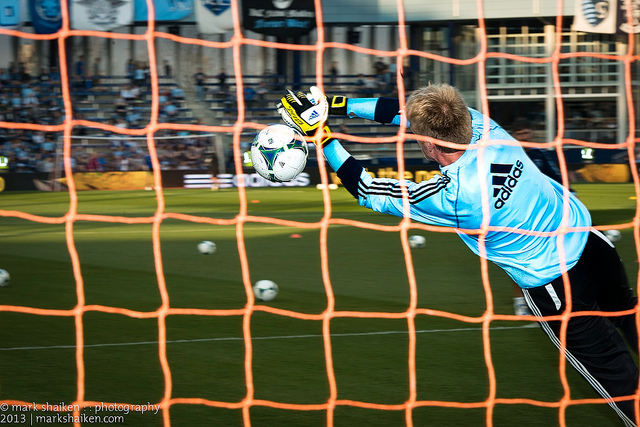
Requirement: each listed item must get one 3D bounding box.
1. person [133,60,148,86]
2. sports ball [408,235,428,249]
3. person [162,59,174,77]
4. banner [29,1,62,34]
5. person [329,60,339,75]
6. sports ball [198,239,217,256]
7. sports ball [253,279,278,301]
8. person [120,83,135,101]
[{"bbox_3d":[-5.505,-4.227,25.930,0.373,0.651,0.743,0,9,-9],"label":"person"},{"bbox_3d":[1.435,0.403,12.689,0.244,0.131,0.297,3,14,14],"label":"sports ball"},{"bbox_3d":[-4.787,-4.594,26.754,0.315,0.541,0.705,-1,9,-11],"label":"person"},{"bbox_3d":[-8.037,-5.781,25.073,0.958,0.886,0.717,1,10,-1],"label":"banner"},{"bbox_3d":[0.452,-4.784,27.884,0.310,0.453,0.725,1,8,0],"label":"person"},{"bbox_3d":[-1.641,0.480,12.386,0.272,0.166,0.286,1,8,0],"label":"sports ball"},{"bbox_3d":[-0.613,0.890,9.990,0.316,0.157,0.251,4,5,0],"label":"sports ball"},{"bbox_3d":[-5.772,-3.638,25.467,0.415,0.490,0.864,-1,9,-13],"label":"person"}]
